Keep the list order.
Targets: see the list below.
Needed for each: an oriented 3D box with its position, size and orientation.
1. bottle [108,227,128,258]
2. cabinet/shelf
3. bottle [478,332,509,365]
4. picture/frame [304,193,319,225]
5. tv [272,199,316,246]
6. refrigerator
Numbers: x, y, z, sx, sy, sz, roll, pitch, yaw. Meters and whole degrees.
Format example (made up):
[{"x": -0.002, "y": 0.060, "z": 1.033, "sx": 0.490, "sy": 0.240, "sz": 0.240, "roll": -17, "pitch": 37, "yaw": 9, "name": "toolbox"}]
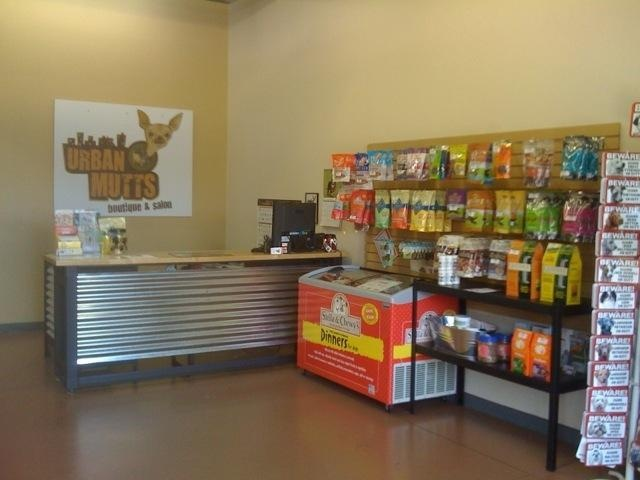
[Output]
[{"x": -2.084, "y": 0.006, "z": 5.043, "sx": 0.134, "sy": 0.268, "sz": 0.198, "roll": 4, "pitch": 5, "yaw": 34, "name": "bottle"}, {"x": 1.438, "y": 1.057, "z": 3.789, "sx": 0.430, "sy": 0.949, "sz": 1.239, "roll": -2, "pitch": 6, "yaw": -30, "name": "cabinet/shelf"}, {"x": 1.351, "y": 0.848, "z": 3.795, "sx": 0.211, "sy": 0.191, "sz": 0.214, "roll": 1, "pitch": 0, "yaw": 27, "name": "bottle"}, {"x": -0.107, "y": -0.376, "z": 5.887, "sx": 0.021, "sy": 0.495, "sz": 0.416, "roll": 1, "pitch": 1, "yaw": -24, "name": "picture/frame"}, {"x": -0.324, "y": -0.218, "z": 5.699, "sx": 0.480, "sy": 0.467, "sz": 0.259, "roll": -4, "pitch": 12, "yaw": -38, "name": "tv"}, {"x": 0.505, "y": 0.938, "z": 4.977, "sx": 0.811, "sy": 1.107, "sz": 1.531, "roll": 3, "pitch": 0, "yaw": -36, "name": "refrigerator"}]
